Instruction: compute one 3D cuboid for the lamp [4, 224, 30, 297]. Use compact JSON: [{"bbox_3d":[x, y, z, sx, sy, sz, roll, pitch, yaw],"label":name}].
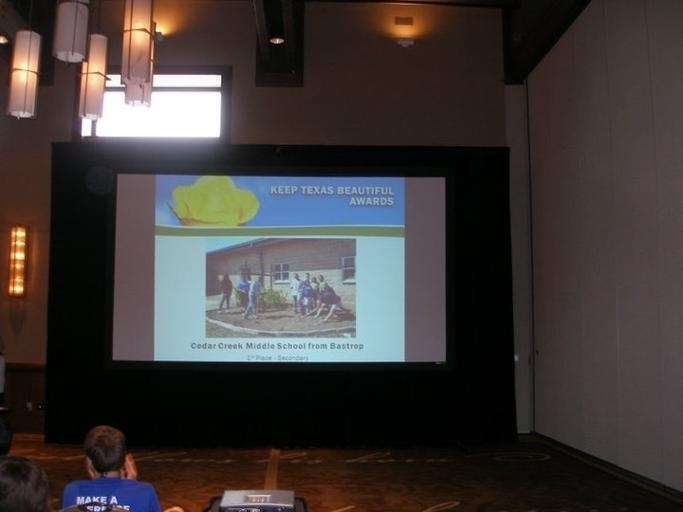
[{"bbox_3d":[-3.617,0.063,7.398,0.214,0.772,0.177,-2,11,-7],"label":"lamp"}]
